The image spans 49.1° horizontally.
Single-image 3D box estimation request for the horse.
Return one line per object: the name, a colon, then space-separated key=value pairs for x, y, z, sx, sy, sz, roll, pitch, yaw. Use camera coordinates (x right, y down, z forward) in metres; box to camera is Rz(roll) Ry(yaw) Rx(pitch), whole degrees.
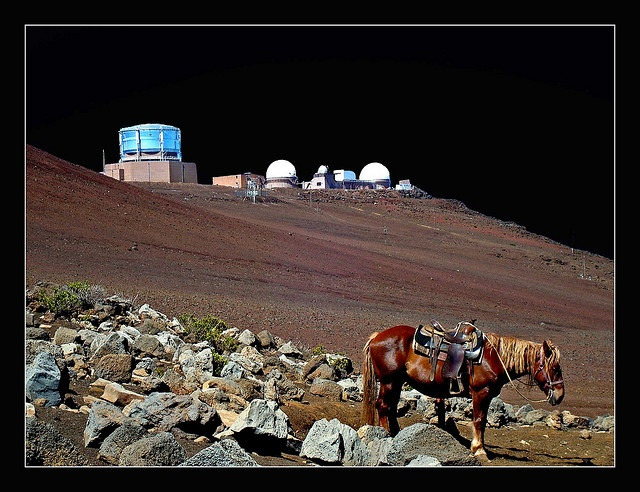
horse: x=2.122 y=2.142 z=10.578 sx=2.999 sy=2.057 sz=1.001 roll=4 pitch=0 yaw=20
